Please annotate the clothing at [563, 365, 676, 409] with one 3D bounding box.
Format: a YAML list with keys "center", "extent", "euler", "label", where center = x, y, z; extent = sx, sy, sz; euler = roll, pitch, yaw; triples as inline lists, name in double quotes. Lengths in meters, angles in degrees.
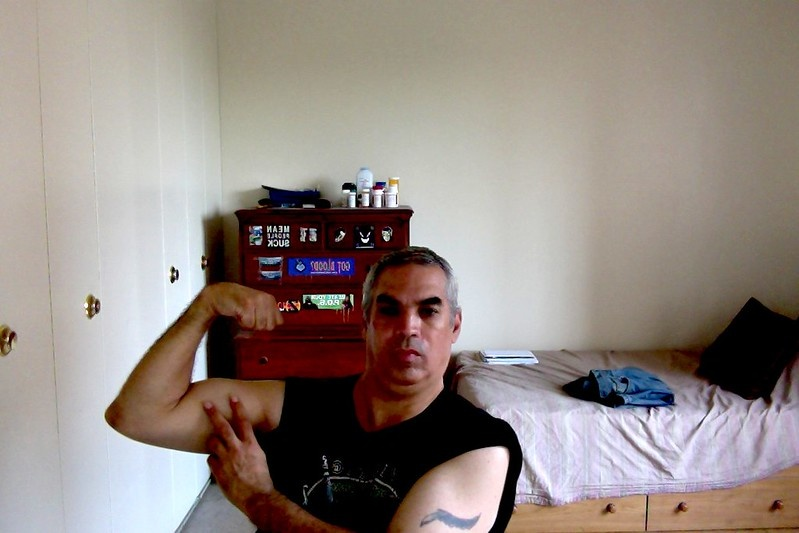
- center: [1.448, 0.794, 4.044]
  extent: [0.347, 0.112, 0.355]
  euler: [-1, 6, -6]
  label: "clothing"

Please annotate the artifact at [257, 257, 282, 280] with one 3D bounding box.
- center: [-0.917, 0.012, 4.377]
  extent: [0.154, 0.157, 0.038]
  euler: [-3, 4, 0]
  label: "artifact"

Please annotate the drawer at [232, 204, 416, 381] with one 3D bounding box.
- center: [-0.551, 0.431, 4.584]
  extent: [1.260, 1.689, 0.684]
  euler: [-1, -22, -2]
  label: "drawer"
